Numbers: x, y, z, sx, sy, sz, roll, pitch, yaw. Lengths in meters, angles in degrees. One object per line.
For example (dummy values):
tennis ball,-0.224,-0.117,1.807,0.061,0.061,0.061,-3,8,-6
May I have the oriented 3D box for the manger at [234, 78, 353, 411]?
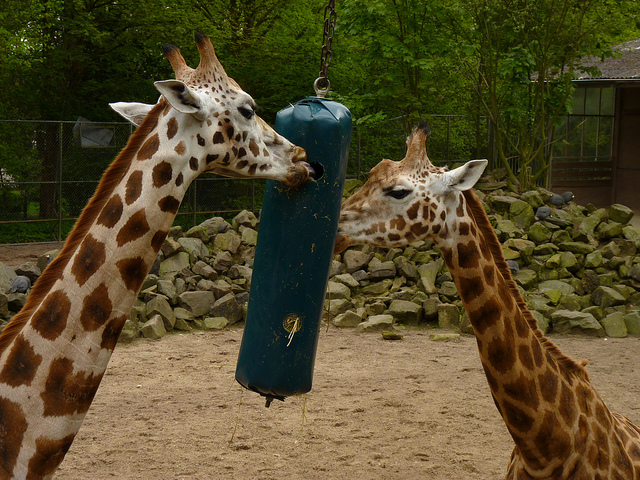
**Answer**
manger,-0.219,0.086,6.010,0.641,2.762,0.652,16,13,30
